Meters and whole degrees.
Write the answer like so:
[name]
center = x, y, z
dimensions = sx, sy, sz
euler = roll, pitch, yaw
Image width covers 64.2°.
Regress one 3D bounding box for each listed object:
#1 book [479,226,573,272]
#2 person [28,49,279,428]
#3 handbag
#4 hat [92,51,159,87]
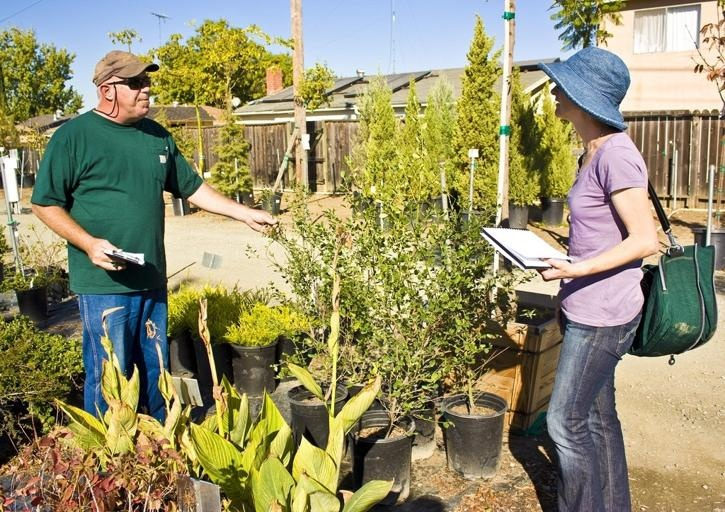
[book]
center = 0.928, -0.048, 3.295
dimensions = 0.321, 0.093, 0.324
euler = 4, 28, -42
[person]
center = -1.486, -0.087, 3.771
dimensions = 1.132, 2.451, 0.716
euler = -6, 8, -34
[handbag]
center = 1.803, 0.265, 3.311
dimensions = 0.526, 0.642, 0.289
euler = -5, 7, -19
[hat]
center = -1.559, -1.215, 3.736
dimensions = 0.397, 0.232, 0.278
euler = -5, 15, 17
